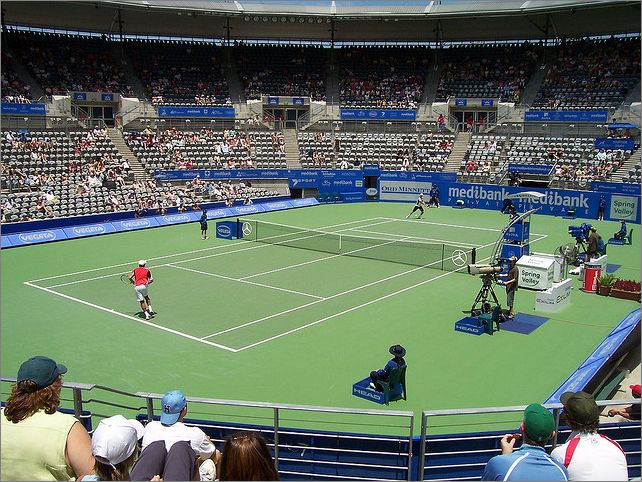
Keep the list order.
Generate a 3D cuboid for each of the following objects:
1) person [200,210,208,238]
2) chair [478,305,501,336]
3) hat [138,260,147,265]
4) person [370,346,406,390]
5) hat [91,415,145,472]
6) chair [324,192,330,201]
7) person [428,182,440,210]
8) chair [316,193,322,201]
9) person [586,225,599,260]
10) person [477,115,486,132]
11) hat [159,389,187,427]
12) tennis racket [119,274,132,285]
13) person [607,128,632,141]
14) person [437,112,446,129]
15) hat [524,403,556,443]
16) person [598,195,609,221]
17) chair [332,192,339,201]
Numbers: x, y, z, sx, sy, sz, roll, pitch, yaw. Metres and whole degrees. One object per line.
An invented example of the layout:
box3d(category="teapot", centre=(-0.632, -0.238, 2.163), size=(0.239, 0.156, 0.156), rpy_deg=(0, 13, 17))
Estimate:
box3d(category="person", centre=(-6.147, -0.881, 30.557), size=(0.362, 1.637, 1.478), rpy_deg=(-2, 14, -11))
box3d(category="chair", centre=(4.955, 2.390, 17.244), size=(0.510, 0.942, 0.524), rpy_deg=(-17, 23, -36))
box3d(category="hat", centre=(-6.297, 0.776, 20.573), size=(0.251, 0.219, 0.184), rpy_deg=(7, 12, -42))
box3d(category="person", centre=(1.493, 2.849, 13.111), size=(0.758, 1.050, 0.473), rpy_deg=(2, 13, 5))
box3d(category="hat", centre=(-2.111, 2.062, 6.131), size=(0.337, 0.315, 0.553), rpy_deg=(8, 21, 3))
box3d(category="chair", centre=(0.438, -3.413, 45.498), size=(0.439, 0.626, 0.480), rpy_deg=(1, 0, 19))
box3d(category="person", centre=(8.691, -3.467, 44.802), size=(0.739, 1.600, 1.188), rpy_deg=(3, 14, 11))
box3d(category="chair", centre=(-0.139, -3.340, 45.244), size=(0.478, 0.793, 0.509), rpy_deg=(1, -1, 33))
box3d(category="person", centre=(10.484, 0.201, 22.498), size=(0.428, 1.287, 1.559), rpy_deg=(7, 15, 25))
box3d(category="person", centre=(13.398, -9.640, 48.782), size=(0.622, 1.129, 1.886), rpy_deg=(4, 14, 15))
box3d(category="hat", centre=(-1.854, 2.093, 7.349), size=(0.261, 0.230, 0.411), rpy_deg=(5, 35, 0))
box3d(category="tennis racket", centre=(-7.145, 1.443, 21.314), size=(0.372, 0.108, 0.413), rpy_deg=(8, 13, -2))
box3d(category="person", centre=(21.730, -7.796, 42.618), size=(1.576, 0.847, 1.187), rpy_deg=(5, 18, 25))
box3d(category="person", centre=(10.277, -10.183, 49.899), size=(0.645, 1.254, 2.158), rpy_deg=(4, 14, 11))
box3d(category="hat", centre=(2.417, 2.046, 6.488), size=(0.288, 0.249, 0.413), rpy_deg=(11, 36, 13))
box3d(category="person", centre=(17.740, -2.020, 36.821), size=(0.408, 1.564, 0.980), rpy_deg=(7, 15, 25))
box3d(category="chair", centre=(1.143, -3.448, 45.862), size=(0.473, 0.702, 0.585), rpy_deg=(0, 3, 0))
